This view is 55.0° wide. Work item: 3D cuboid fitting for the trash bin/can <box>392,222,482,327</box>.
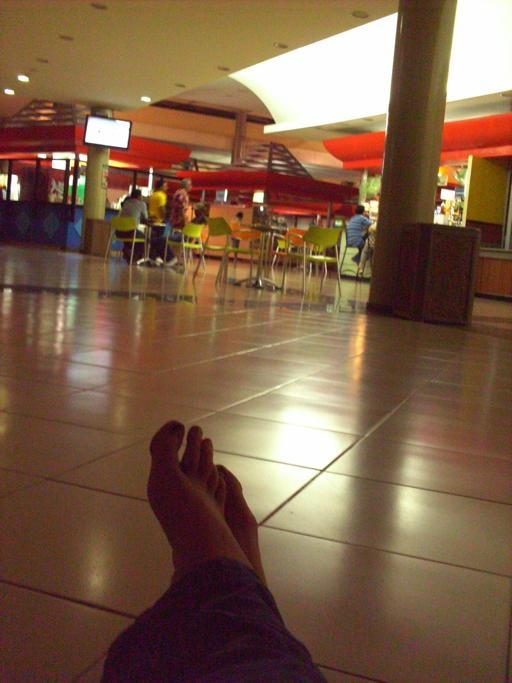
[{"bbox_3d":[2.030,-0.769,5.643,0.911,1.109,0.504,10,7,30],"label":"trash bin/can"}]
